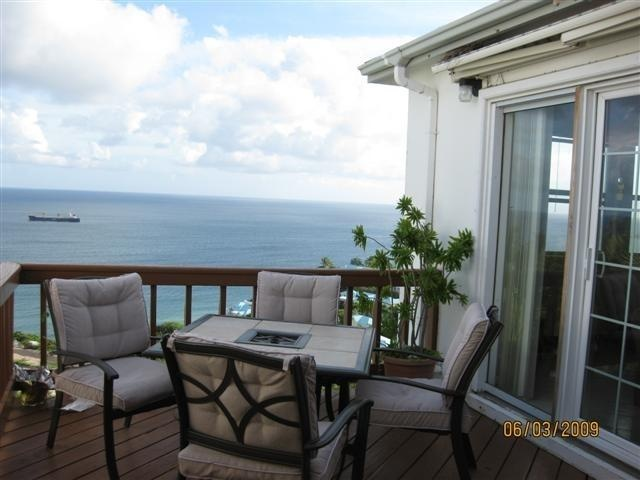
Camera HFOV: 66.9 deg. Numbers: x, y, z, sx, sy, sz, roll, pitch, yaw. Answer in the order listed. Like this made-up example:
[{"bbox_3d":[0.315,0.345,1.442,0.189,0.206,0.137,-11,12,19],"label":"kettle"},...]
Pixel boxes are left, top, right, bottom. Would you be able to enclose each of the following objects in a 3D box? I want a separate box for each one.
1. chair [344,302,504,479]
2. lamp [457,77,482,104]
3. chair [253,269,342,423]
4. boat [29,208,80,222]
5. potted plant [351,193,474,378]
[{"bbox_3d":[0.655,0.960,3.391,1.037,1.361,0.943,3,-3,11],"label":"chair"},{"bbox_3d":[1.217,-1.223,3.957,0.150,0.181,0.155,-3,8,-20],"label":"lamp"},{"bbox_3d":[-0.216,0.774,3.734,0.649,0.700,1.074,8,-38,-2],"label":"chair"},{"bbox_3d":[-27.257,-2.482,49.314,4.403,1.345,1.087,3,-9,-17],"label":"boat"},{"bbox_3d":[0.812,0.403,4.433,1.089,1.395,1.134,8,12,14],"label":"potted plant"}]
